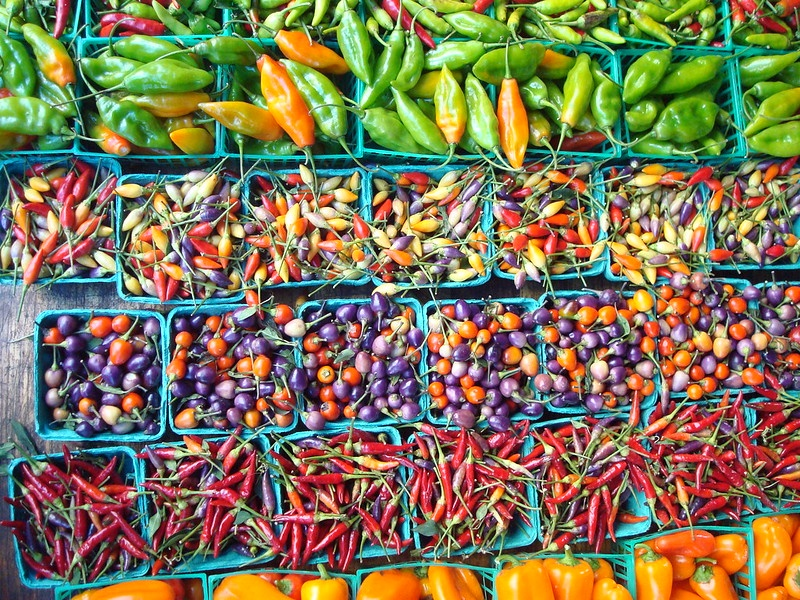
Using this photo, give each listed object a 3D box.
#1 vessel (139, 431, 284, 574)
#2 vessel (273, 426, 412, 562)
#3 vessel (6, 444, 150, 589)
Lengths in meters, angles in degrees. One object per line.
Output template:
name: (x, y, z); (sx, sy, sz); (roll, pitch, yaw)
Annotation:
vessel: (-0.976, 1.047, 4.378); (0.718, 0.674, 0.317); (-3, -19, 5)
vessel: (-0.273, 1.043, 4.300); (0.664, 0.687, 0.244); (-3, 6, -4)
vessel: (-1.640, 1.112, 4.336); (0.731, 0.669, 0.331); (5, -19, -16)
